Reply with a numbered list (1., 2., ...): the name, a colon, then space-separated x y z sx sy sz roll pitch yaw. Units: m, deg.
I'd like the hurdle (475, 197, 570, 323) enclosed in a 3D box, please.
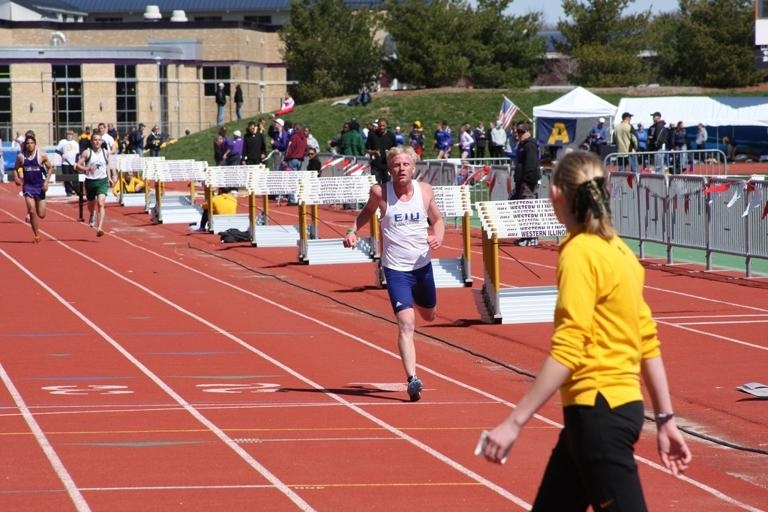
1. hurdle: 1.795 0.081 15.323 1.110 1.778 0.797 -1 0 -15
